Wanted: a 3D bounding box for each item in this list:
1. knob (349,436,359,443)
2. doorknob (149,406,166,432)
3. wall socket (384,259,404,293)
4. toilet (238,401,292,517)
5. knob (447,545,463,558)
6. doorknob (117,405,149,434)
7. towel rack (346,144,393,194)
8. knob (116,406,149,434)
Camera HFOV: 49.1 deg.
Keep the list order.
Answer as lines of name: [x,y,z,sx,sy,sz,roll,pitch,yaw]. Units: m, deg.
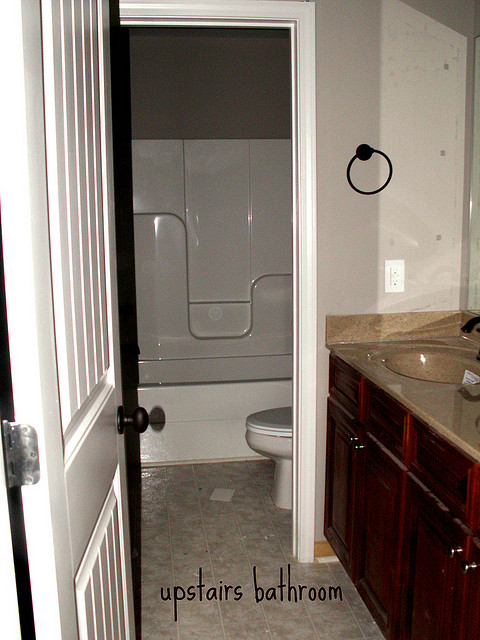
knob: [0.358,0.379,1.658,0.016,0.013,0.012,-2,29,8]
doorknob: [-0.468,0.571,3.012,0.019,0.121,0.112,-4,33,16]
wall socket: [0.562,-0.162,1.915,0.074,0.200,0.018,-1,9,-4]
toilet: [0.143,0.667,2.557,0.216,0.396,0.391,0,6,6]
knob: [0.418,0.451,1.023,0.022,0.016,0.017,-10,12,-36]
doorknob: [-0.212,0.195,1.055,0.047,0.063,0.046,0,0,9]
towel rack: [0.459,-0.540,1.872,0.158,0.236,0.082,5,51,27]
knob: [-0.212,0.197,1.051,0.048,0.074,0.044,-1,-4,9]
